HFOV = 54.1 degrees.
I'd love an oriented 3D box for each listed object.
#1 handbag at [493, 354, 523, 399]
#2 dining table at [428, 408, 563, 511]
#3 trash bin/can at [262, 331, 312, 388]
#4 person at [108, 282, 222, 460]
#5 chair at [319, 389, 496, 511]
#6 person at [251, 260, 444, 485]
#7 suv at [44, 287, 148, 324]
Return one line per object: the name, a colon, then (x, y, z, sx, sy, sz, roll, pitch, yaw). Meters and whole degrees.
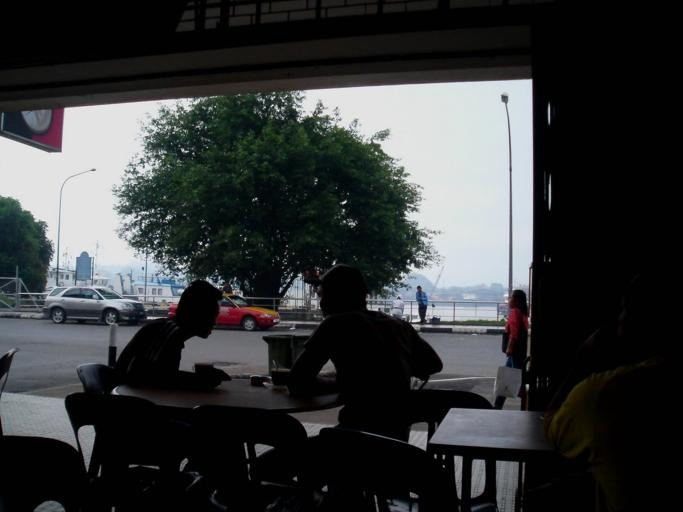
handbag: (1.725, 1.245, 6.896, 0.344, 0.367, 0.291, 4, -10, 33)
dining table: (0.956, 1.143, 4.298, 0.650, 0.711, 0.695, 0, -1, 5)
trash bin/can: (-0.741, 1.292, 8.523, 0.479, 0.554, 0.390, -3, -11, 29)
person: (-1.394, 0.637, 5.418, 0.805, 0.903, 0.764, 4, 1, -22)
chair: (0.539, 1.357, 5.004, 0.919, 1.282, 0.779, 3, -6, -13)
person: (-0.045, 0.855, 5.302, 1.460, 2.417, 1.092, -5, -23, 24)
suv: (-9.331, 1.869, 24.838, 2.537, 1.059, 1.232, -3, -4, 17)
